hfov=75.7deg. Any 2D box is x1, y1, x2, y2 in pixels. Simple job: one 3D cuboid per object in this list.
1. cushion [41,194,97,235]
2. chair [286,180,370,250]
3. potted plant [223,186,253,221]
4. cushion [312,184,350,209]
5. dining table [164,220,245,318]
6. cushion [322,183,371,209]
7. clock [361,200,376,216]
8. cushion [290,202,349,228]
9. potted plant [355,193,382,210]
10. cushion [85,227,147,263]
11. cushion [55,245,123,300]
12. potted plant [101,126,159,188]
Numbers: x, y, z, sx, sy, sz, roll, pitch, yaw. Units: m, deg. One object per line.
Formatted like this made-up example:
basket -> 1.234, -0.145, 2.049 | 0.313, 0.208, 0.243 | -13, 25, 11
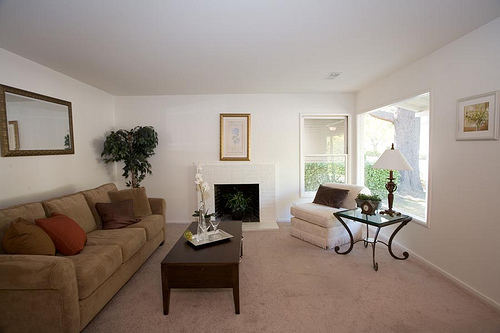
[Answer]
cushion -> -2.646, 0.795, 4.830 | 0.333, 0.661, 0.788 | 0, 8, 6
chair -> 1.475, 0.861, 5.829 | 1.166, 1.121, 1.134 | 6, -5, -41
potted plant -> -0.266, 0.764, 6.925 | 0.666, 0.674, 0.394 | -2, 5, -1
cushion -> 1.489, 0.548, 5.946 | 0.165, 0.344, 0.549 | 30, -11, -22
dining table -> -0.616, 1.309, 4.585 | 0.973, 1.066, 1.159 | -2, 5, 0
cushion -> 1.825, 0.491, 5.877 | 0.464, 0.301, 0.599 | -10, 4, -43
clock -> 1.879, 0.657, 5.079 | 0.227, 0.252, 0.130 | 0, -6, 44
cushion -> 1.238, 0.860, 5.793 | 0.484, 0.302, 0.880 | -6, 6, -42
potted plant -> 1.930, 0.556, 5.213 | 0.304, 0.174, 0.313 | -1, -3, 21
cushion -> -1.915, 1.118, 4.546 | 0.532, 0.182, 0.498 | 0, 1, 0
cushion -> -2.032, 1.327, 4.153 | 0.400, 0.455, 0.737 | 0, 5, 15
potted plant -> -2.378, -0.241, 6.340 | 1.228, 1.609, 0.818 | 0, 4, -24
